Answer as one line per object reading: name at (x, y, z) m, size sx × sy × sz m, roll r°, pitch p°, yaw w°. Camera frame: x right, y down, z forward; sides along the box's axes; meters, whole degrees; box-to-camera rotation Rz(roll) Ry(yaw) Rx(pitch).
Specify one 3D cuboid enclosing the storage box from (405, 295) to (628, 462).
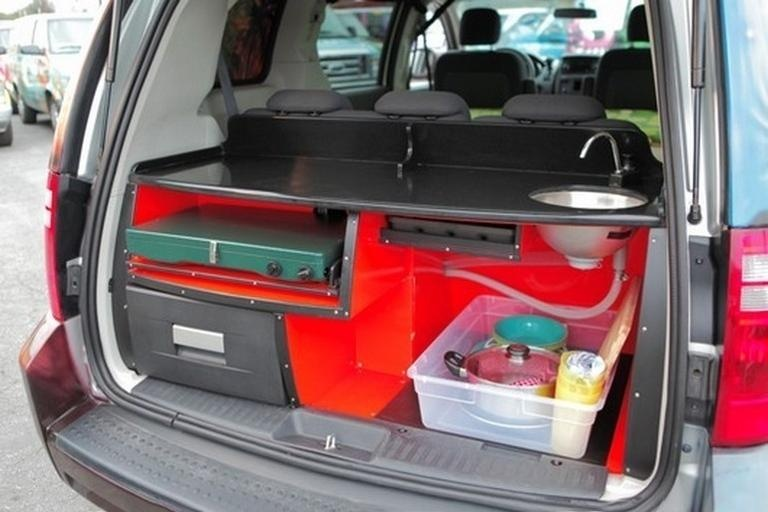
storage box at (0.523, 0.457, 2.224) m, size 0.592 × 0.182 × 0.650 m, roll 10°, pitch 24°, yaw 27°
